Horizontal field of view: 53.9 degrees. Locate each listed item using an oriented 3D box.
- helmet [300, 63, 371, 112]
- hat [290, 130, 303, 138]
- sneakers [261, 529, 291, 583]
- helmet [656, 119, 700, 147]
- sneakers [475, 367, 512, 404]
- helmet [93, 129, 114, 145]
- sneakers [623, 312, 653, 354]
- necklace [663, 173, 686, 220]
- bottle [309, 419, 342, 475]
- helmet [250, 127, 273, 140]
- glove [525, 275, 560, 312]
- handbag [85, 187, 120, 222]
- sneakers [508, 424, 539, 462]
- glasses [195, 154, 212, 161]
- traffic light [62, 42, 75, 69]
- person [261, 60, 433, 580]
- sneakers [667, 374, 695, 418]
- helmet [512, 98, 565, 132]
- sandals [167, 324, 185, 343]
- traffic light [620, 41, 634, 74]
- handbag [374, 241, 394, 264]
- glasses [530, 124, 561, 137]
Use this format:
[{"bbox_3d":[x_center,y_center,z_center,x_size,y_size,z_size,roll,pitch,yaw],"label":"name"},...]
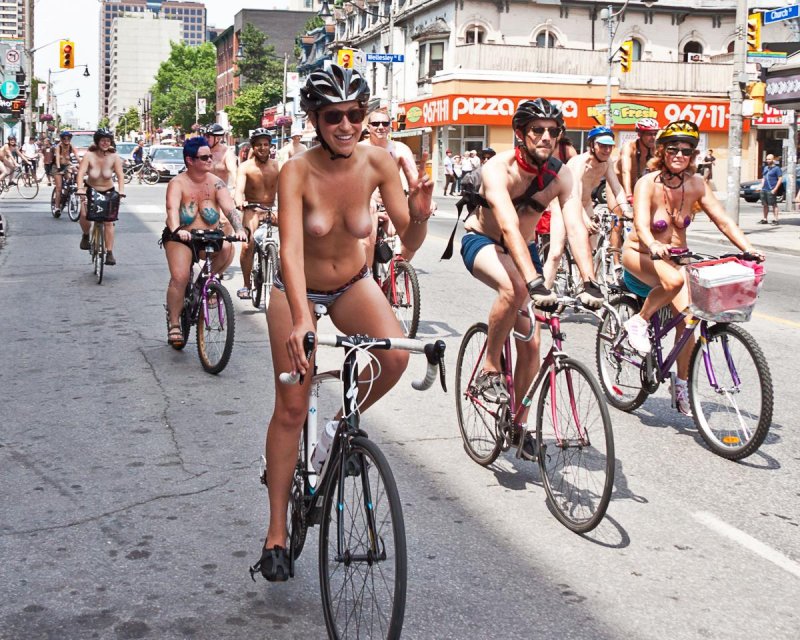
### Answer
[{"bbox_3d":[-0.264,-0.955,3.245,0.288,0.211,0.232,1,10,-8],"label":"helmet"},{"bbox_3d":[-1.707,-3.122,13.217,0.238,0.073,0.241,3,8,27],"label":"hat"},{"bbox_3d":[-0.538,1.074,3.424,0.125,0.249,0.189,-2,10,-25],"label":"sneakers"},{"bbox_3d":[2.091,-1.389,5.859,0.293,0.201,0.306,6,10,19],"label":"helmet"},{"bbox_3d":[0.599,0.423,4.976,0.099,0.124,0.276,7,3,-21],"label":"sneakers"},{"bbox_3d":[-5.375,-3.293,14.194,0.238,0.300,0.292,-1,11,-15],"label":"helmet"},{"bbox_3d":[1.839,0.113,6.024,0.124,0.146,0.361,16,44,-39],"label":"sneakers"},{"bbox_3d":[2.157,-0.955,6.126,0.177,0.320,0.082,-1,-3,-12],"label":"necklace"},{"bbox_3d":[-0.297,0.526,3.179,0.087,0.296,0.311,0,10,-12],"label":"bottle"},{"bbox_3d":[-1.838,-2.462,10.322,0.182,0.105,0.267,-5,-8,-24],"label":"helmet"},{"bbox_3d":[0.749,-0.134,4.107,0.160,0.078,0.172,16,31,-23],"label":"glove"},{"bbox_3d":[-4.969,-1.907,13.107,0.544,0.651,0.537,-2,9,-3],"label":"handbag"},{"bbox_3d":[0.741,0.741,4.678,0.077,0.129,0.198,-13,21,-12],"label":"sneakers"},{"bbox_3d":[-2.057,-1.709,8.336,0.075,0.074,0.164,11,13,42],"label":"glasses"},{"bbox_3d":[-16.726,-13.228,39.316,0.591,1.355,0.670,10,12,43],"label":"traffic light"},{"bbox_3d":[-0.257,0.066,3.421,0.714,2.261,0.765,2,9,-1],"label":"person"},{"bbox_3d":[2.076,0.564,5.921,0.117,0.174,0.372,-4,15,-11],"label":"sneakers"},{"bbox_3d":[0.817,-1.193,4.583,0.291,0.192,0.200,4,10,9],"label":"helmet"},{"bbox_3d":[-2.353,0.141,8.296,0.144,0.166,0.423,0,-4,-16],"label":"sandals"},{"bbox_3d":[11.045,-12.755,38.136,0.477,1.418,1.367,4,10,11],"label":"traffic light"},{"bbox_3d":[-0.181,-0.762,8.959,0.137,0.151,0.252,-37,9,-6],"label":"handbag"},{"bbox_3d":[0.867,-1.085,4.554,0.207,0.056,0.070,-2,10,-23],"label":"glasses"}]
